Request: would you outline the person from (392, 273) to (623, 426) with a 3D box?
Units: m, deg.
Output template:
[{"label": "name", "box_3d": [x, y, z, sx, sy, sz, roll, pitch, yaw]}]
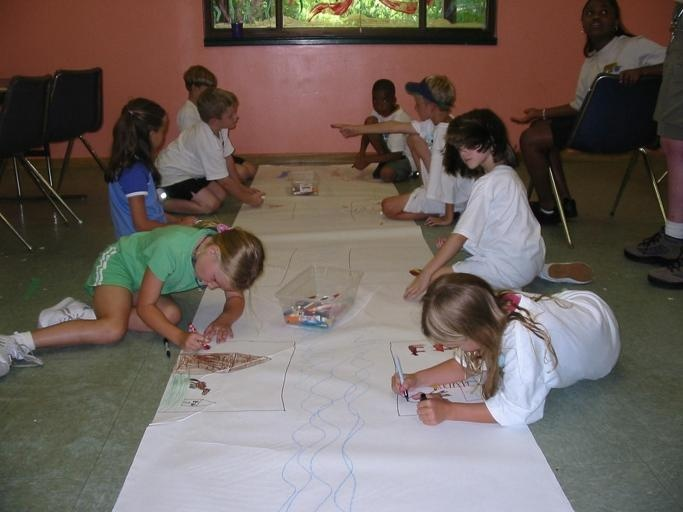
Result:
[{"label": "person", "box_3d": [0.590, 0.259, 1.741, 0.766, 0.451, 0.328, -18, 31, -28]}]

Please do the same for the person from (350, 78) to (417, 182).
[{"label": "person", "box_3d": [0.396, -1.098, 4.719, 0.550, 0.842, 0.623, -18, 25, -38]}]

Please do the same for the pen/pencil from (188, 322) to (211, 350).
[{"label": "pen/pencil", "box_3d": [-0.560, 0.321, 2.086, 0.021, 0.091, 0.027, -31, 12, 15]}]

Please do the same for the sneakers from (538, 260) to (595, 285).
[{"label": "sneakers", "box_3d": [1.126, 0.086, 2.652, 0.240, 0.052, 0.118, 2, 30, 10]}]

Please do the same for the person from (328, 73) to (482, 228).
[{"label": "person", "box_3d": [0.439, -0.725, 3.635, 0.907, 0.933, 0.517, 3, 17, 25]}]

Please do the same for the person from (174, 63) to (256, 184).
[{"label": "person", "box_3d": [-0.911, -0.884, 4.302, 0.625, 0.916, 0.550, 2, 41, -21]}]

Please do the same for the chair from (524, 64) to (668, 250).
[{"label": "chair", "box_3d": [1.615, -0.627, 3.258, 0.615, 0.853, 0.600, -2, 12, 1]}]

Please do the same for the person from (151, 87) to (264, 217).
[{"label": "person", "box_3d": [-0.958, -0.779, 3.902, 0.774, 0.869, 0.657, 8, 29, 1]}]

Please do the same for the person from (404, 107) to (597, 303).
[{"label": "person", "box_3d": [0.752, -0.268, 2.519, 0.790, 0.884, 0.811, 5, 20, 33]}]

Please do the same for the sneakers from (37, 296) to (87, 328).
[{"label": "sneakers", "box_3d": [-1.162, 0.235, 2.250, 0.121, 0.081, 0.206, 18, 23, 32]}]

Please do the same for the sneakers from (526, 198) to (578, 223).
[{"label": "sneakers", "box_3d": [1.414, -0.308, 3.613, 0.387, 0.174, 0.157, 1, 23, 12]}]

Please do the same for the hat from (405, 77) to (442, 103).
[{"label": "hat", "box_3d": [0.521, -1.107, 3.548, 0.119, 0.136, 0.338, -11, 29, -17]}]

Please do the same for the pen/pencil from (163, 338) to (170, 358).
[{"label": "pen/pencil", "box_3d": [-0.690, 0.368, 2.093, 0.020, 0.018, 0.126, 4, 27, -20]}]

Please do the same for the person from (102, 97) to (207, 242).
[{"label": "person", "box_3d": [-0.993, -0.424, 2.798, 0.454, 0.751, 0.435, -2, 22, -12]}]
